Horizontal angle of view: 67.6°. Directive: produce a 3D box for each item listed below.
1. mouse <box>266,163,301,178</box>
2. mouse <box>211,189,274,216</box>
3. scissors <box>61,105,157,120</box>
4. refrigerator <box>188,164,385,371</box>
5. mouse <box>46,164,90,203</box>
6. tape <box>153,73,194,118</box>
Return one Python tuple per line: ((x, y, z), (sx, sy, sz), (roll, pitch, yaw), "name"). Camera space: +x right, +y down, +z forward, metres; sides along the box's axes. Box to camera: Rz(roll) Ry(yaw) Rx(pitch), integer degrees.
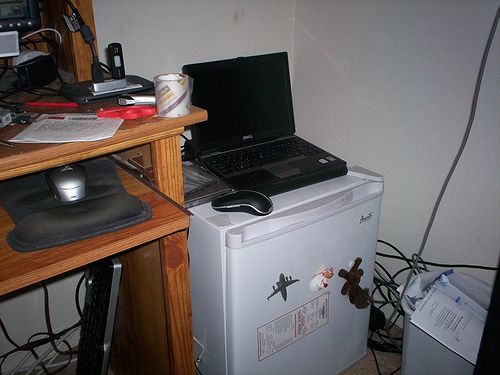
((0.113, -0.058, 1.272), (0.060, 0.003, 0.057), (-17, 38, -25), "mouse")
((-0.029, 0.037, 1.165), (0.185, 0.066, 0.112), (4, 28, 12), "mouse")
((-0.360, -0.191, 0.945), (0.252, 0.020, 0.077), (2, 25, 6), "scissors")
((0.095, 0.247, 1.219), (0.462, 0.651, 0.353), (-21, 35, -33), "refrigerator")
((-0.472, -0.028, 0.973), (0.085, 0.044, 0.144), (-11, 42, -29), "mouse")
((-0.202, -0.238, 0.953), (0.100, 0.103, 0.095), (-15, 33, -28), "tape")
